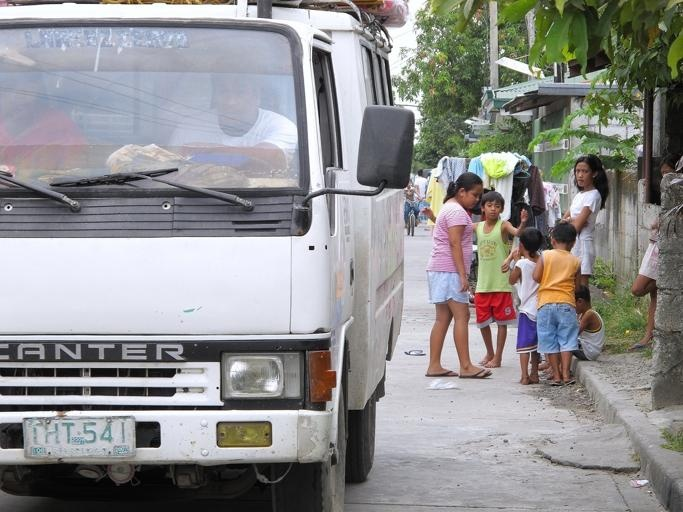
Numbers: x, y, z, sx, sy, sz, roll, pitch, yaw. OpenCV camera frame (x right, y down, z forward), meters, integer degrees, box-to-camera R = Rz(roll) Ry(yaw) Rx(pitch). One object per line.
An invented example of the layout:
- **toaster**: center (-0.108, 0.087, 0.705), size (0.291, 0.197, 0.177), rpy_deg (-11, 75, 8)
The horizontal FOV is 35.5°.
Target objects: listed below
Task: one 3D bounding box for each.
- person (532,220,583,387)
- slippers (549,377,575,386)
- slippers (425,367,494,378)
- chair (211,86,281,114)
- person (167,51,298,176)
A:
- **person**: center (1.928, 0.469, 10.298), size (0.430, 1.476, 0.490), rpy_deg (-4, 0, 11)
- **slippers**: center (1.987, 1.221, 10.426), size (0.230, 0.057, 0.078), rpy_deg (-1, 3, -11)
- **slippers**: center (1.089, 1.200, 10.837), size (0.579, 0.134, 0.189), rpy_deg (-3, -2, 13)
- **chair**: center (-0.495, -0.849, 5.787), size (0.237, 0.110, 0.179), rpy_deg (4, -2, -35)
- **person**: center (-0.462, -0.658, 5.837), size (0.936, 0.663, 0.473), rpy_deg (-1, -7, 8)
